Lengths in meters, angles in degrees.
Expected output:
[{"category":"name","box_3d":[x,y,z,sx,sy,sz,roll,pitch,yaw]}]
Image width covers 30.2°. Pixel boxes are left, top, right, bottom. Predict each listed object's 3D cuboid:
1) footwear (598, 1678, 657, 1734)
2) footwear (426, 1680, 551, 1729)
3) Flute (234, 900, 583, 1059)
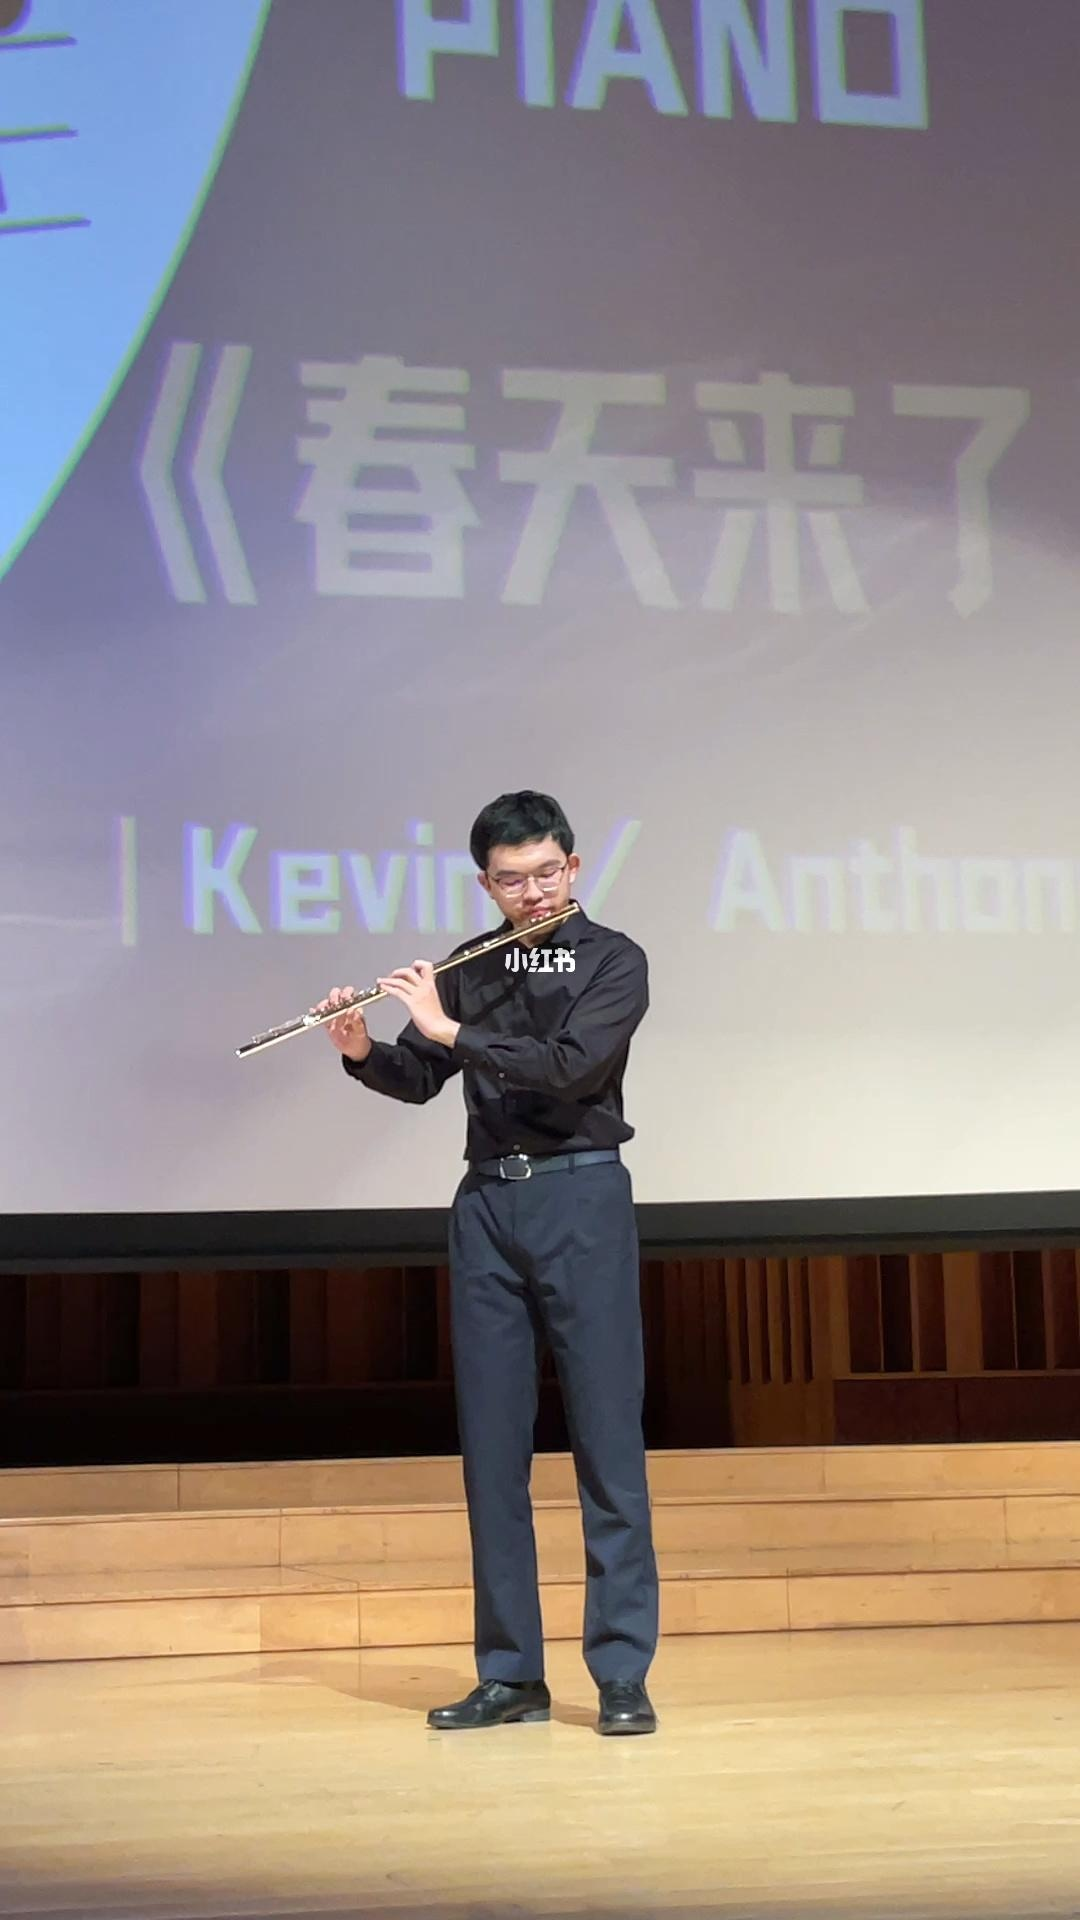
[{"category":"footwear","box_3d":[0.120,1.049,2.804,0.079,0.066,0.112,-1,-6,0]},{"category":"footwear","box_3d":[-0.067,1.058,2.853,0.189,0.065,0.066,6,-14,-20]},{"category":"Flute","box_3d":[-0.236,0.039,3.286,0.571,0.056,0.062,-25,5,1]}]
